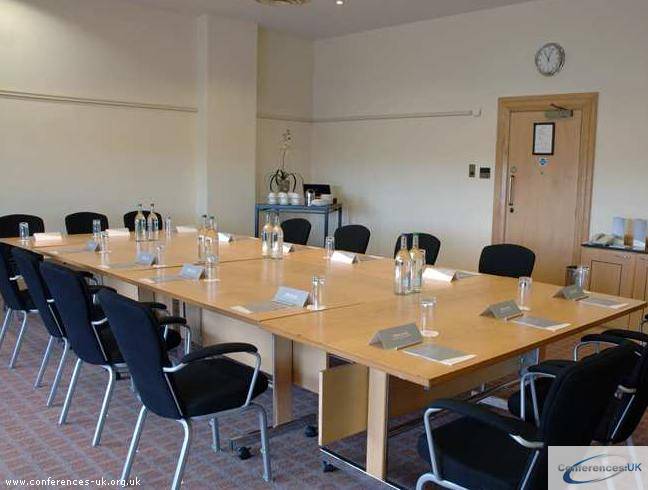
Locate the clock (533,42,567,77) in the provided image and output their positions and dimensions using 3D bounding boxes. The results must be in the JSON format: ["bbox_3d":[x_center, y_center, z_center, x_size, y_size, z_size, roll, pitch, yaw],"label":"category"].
[{"bbox_3d":[2.831,-2.318,6.200,0.076,0.403,0.382,-8,13,-40],"label":"clock"}]

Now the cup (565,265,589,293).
[{"bbox_3d":[1.658,0.217,3.205,0.154,0.167,0.158,0,1,0],"label":"cup"}]

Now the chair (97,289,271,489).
[{"bbox_3d":[-0.765,0.711,2.703,0.785,1.078,0.814,-7,13,-39],"label":"chair"}]

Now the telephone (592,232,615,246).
[{"bbox_3d":[3.041,-0.067,5.346,0.239,0.080,0.173,-5,10,-32],"label":"telephone"}]

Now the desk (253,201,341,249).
[{"bbox_3d":[-0.404,-0.488,8.130,0.979,0.938,0.760,4,7,36],"label":"desk"}]

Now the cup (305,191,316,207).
[{"bbox_3d":[-0.212,-0.757,7.919,0.132,0.224,0.271,1,10,-1],"label":"cup"}]
